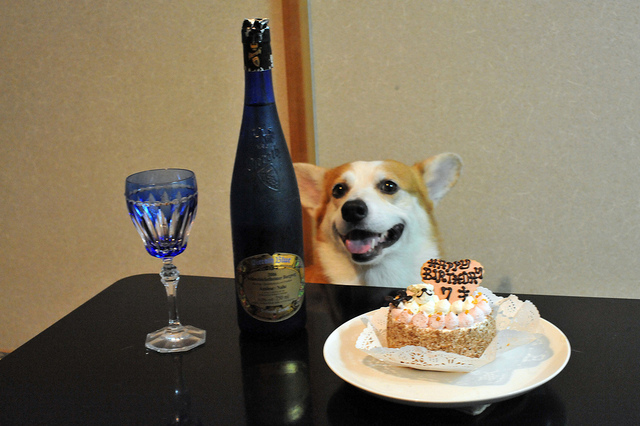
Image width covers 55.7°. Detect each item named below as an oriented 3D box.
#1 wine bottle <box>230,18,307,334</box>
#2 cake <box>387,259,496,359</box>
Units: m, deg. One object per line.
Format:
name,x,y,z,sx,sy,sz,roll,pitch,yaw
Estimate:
wine bottle,-0.101,-0.053,1.111,0.128,0.565,0.159,-4,25,-6
cake,0.232,0.174,1.132,0.194,0.127,0.179,7,25,16
